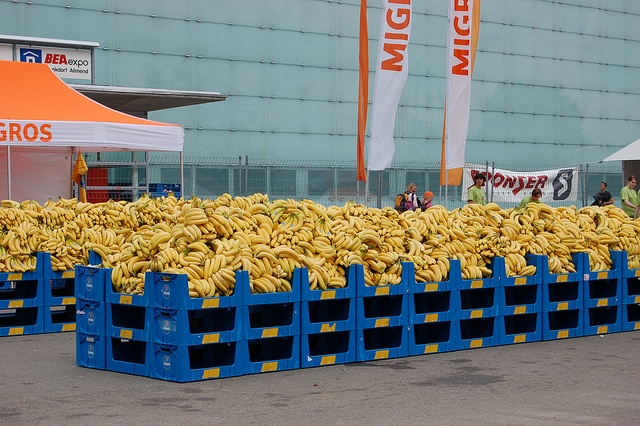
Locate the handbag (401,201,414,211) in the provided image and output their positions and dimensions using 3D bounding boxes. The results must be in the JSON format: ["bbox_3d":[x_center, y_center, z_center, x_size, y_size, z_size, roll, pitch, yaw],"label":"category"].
[{"bbox_3d":[2.515,-0.175,28.786,0.234,0.395,0.445,-3,-1,-27],"label":"handbag"}]

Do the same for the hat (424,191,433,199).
[{"bbox_3d":[3.106,-0.501,28.796,0.182,0.158,0.265,-5,11,-29],"label":"hat"}]

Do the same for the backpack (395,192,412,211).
[{"bbox_3d":[2.386,-0.267,28.949,0.426,0.705,0.244,-4,5,-32],"label":"backpack"}]

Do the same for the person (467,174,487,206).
[{"bbox_3d":[4.259,-0.640,27.365,0.348,1.098,0.766,4,13,26],"label":"person"}]
